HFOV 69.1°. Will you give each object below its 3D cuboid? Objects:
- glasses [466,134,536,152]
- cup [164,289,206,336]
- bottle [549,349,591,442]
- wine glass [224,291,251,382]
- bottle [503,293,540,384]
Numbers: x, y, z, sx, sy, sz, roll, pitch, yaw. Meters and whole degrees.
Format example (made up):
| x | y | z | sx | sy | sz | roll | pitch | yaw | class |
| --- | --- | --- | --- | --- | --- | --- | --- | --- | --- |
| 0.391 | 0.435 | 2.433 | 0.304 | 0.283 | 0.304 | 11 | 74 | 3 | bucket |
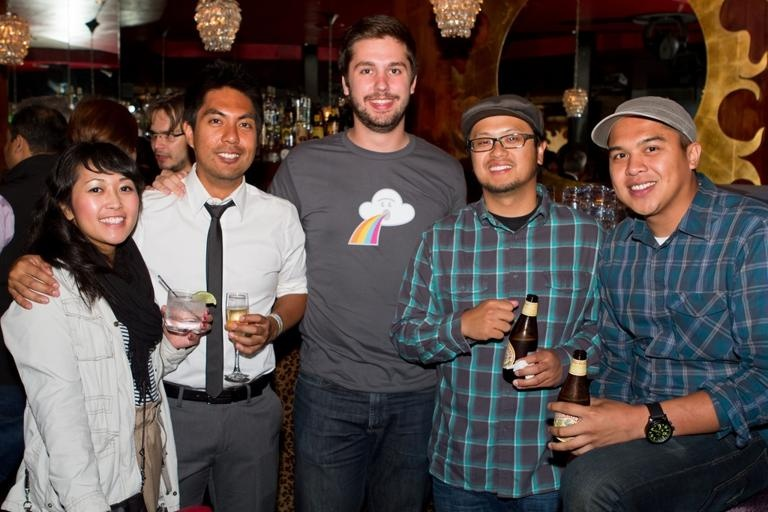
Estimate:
| x | y | z | sx | sy | sz | roll | pitch | yaw | class |
| --- | --- | --- | --- | --- | --- | --- | --- | --- | --- |
| 0.563 | -0.542 | 2.685 | 0.311 | 0.091 | 0.096 | 2 | 9 | 7 | glasses |
| -0.917 | 0.255 | 2.542 | 0.203 | 0.189 | 0.132 | 0 | 9 | -7 | cup |
| 0.827 | 0.626 | 2.443 | 0.139 | 0.507 | 0.273 | 4 | 9 | 18 | bottle |
| -0.696 | 0.398 | 2.617 | 0.116 | 0.443 | 0.155 | -1 | 9 | -16 | wine glass |
| 0.640 | 0.383 | 2.552 | 0.167 | 0.435 | 0.229 | 2 | 9 | 3 | bottle |
